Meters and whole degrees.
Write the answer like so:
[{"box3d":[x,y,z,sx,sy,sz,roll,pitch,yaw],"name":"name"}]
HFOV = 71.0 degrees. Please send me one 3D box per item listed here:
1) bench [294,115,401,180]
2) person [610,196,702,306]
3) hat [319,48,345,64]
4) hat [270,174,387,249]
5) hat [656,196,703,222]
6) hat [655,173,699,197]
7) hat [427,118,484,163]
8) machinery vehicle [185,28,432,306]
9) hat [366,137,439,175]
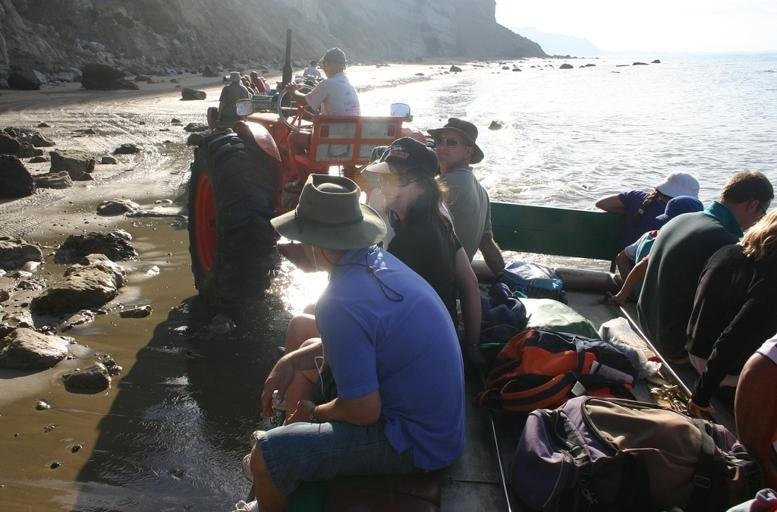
[{"box3d":[-0.418,-1.218,5.774,0.781,0.502,0.822,-5,20,-14],"name":"bench"},{"box3d":[2.526,-0.034,5.108,0.414,0.395,1.172,-5,-18,-10],"name":"person"},{"box3d":[-0.688,-2.404,6.630,0.249,0.184,0.327,-11,22,-40],"name":"hat"},{"box3d":[-0.357,-0.211,3.313,0.547,0.238,0.551,20,20,29],"name":"hat"},{"box3d":[2.833,-0.468,5.332,0.407,0.198,0.277,-2,6,8],"name":"hat"},{"box3d":[3.154,-0.705,5.822,0.399,0.201,0.293,16,14,-9],"name":"hat"},{"box3d":[0.769,-1.131,5.239,0.417,0.198,0.519,14,-17,29],"name":"hat"},{"box3d":[-1.294,-1.275,7.098,2.578,2.174,3.435,-8,33,-32],"name":"machinery vehicle"},{"box3d":[0.098,-0.700,3.921,0.407,0.198,0.284,19,8,-14],"name":"hat"}]
